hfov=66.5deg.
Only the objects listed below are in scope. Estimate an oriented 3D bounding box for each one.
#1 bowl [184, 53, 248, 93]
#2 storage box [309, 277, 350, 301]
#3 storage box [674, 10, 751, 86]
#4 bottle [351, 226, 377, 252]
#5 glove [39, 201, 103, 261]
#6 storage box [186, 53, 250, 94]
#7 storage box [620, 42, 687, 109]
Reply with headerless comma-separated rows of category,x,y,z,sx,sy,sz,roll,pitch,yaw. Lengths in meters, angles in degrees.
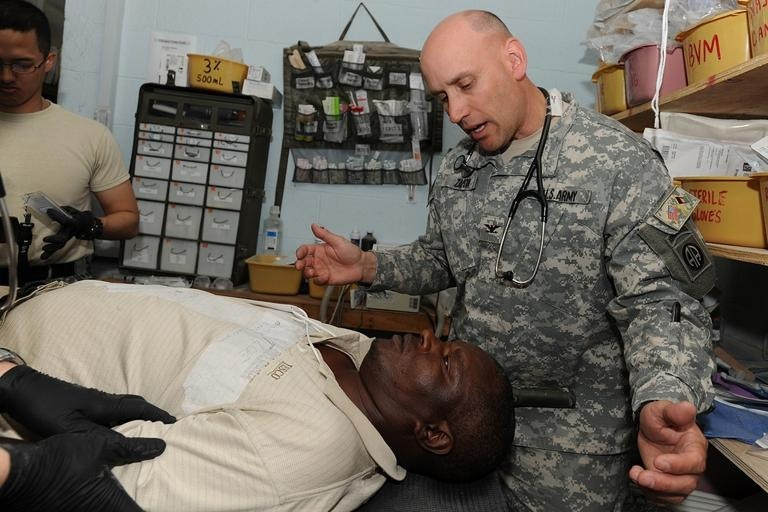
bowl,-0.958,-1.052,3.340,0.283,0.120,0.234,0,12,-30
storage box,-0.339,0.171,3.283,0.169,0.110,0.167,2,-1,6
storage box,1.317,-0.839,2.355,0.224,0.164,0.205,-22,-13,25
bottle,-0.134,-0.090,3.607,0.140,0.230,0.136,0,2,0
glove,-1.451,-0.123,2.723,0.182,0.210,0.339,4,3,16
storage box,-0.957,-1.019,3.356,0.283,0.119,0.233,0,13,-27
storage box,1.199,-0.827,2.639,0.244,0.176,0.220,-9,5,-14
